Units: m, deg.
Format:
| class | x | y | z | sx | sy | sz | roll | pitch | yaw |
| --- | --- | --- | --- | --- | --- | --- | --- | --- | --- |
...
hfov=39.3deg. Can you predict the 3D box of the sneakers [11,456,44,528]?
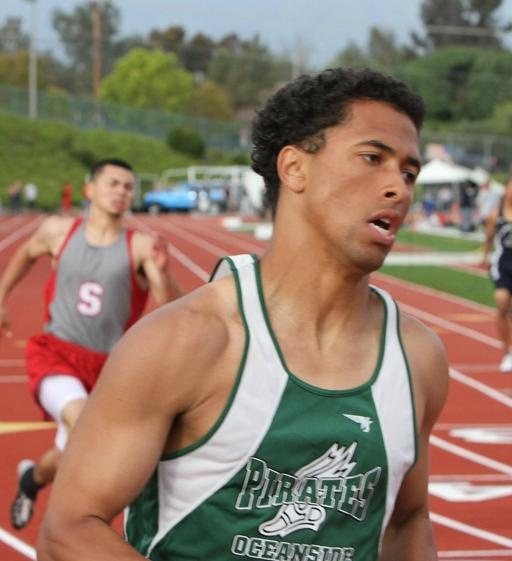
| class | x | y | z | sx | sy | sz | roll | pitch | yaw |
| --- | --- | --- | --- | --- | --- | --- | --- | --- | --- |
| sneakers | -0.939 | 0.838 | 2.830 | 0.116 | 0.293 | 0.131 | 7 | 15 | -30 |
